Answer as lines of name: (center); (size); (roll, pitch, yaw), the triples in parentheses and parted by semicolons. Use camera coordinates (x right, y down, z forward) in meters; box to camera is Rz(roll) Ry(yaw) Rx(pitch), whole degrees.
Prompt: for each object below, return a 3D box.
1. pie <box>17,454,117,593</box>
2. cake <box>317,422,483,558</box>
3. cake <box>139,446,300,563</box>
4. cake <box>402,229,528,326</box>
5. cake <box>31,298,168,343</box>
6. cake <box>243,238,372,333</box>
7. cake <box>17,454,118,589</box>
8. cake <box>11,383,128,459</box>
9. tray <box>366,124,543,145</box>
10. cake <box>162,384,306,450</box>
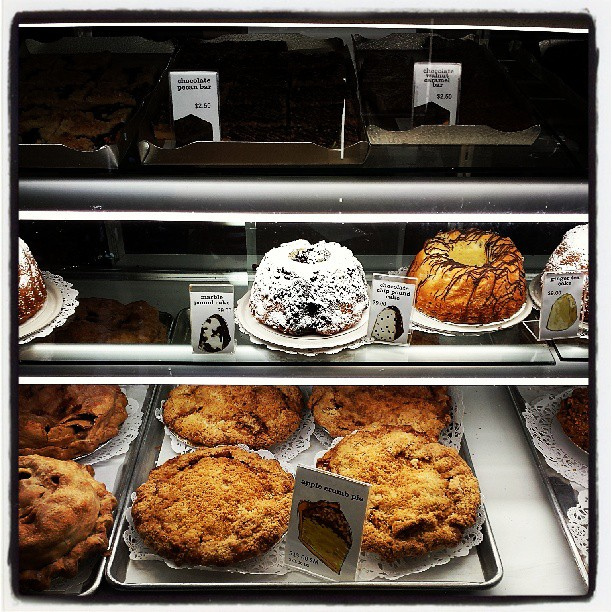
pie: (-0.635, 0.539, 1.421); (0.277, 0.087, 0.297); (26, 14, 16)
cake: (0.269, 0.479, 1.569); (0.390, 0.119, 0.441); (-14, 40, -18)
cake: (-0.255, 0.536, 1.531); (0.421, 0.095, 0.346); (8, 38, 10)
cake: (0.443, -0.083, 1.560); (0.298, 0.107, 0.295); (-8, 33, -5)
cake: (-0.561, 0.048, 1.625); (0.207, 0.048, 0.204); (7, 21, 7)
cake: (0.009, -0.066, 1.514); (0.336, 0.164, 0.334); (-4, 29, -3)
cake: (-0.630, 0.520, 1.445); (0.304, 0.097, 0.318); (35, 19, -21)
cake: (-0.788, 0.337, 1.758); (0.367, 0.105, 0.391); (4, 21, -1)
tray: (0.369, -0.428, 1.359); (0.433, 0.049, 0.065); (1, 38, 1)
cake: (-0.249, 0.349, 1.757); (0.343, 0.069, 0.278); (6, 34, 9)
